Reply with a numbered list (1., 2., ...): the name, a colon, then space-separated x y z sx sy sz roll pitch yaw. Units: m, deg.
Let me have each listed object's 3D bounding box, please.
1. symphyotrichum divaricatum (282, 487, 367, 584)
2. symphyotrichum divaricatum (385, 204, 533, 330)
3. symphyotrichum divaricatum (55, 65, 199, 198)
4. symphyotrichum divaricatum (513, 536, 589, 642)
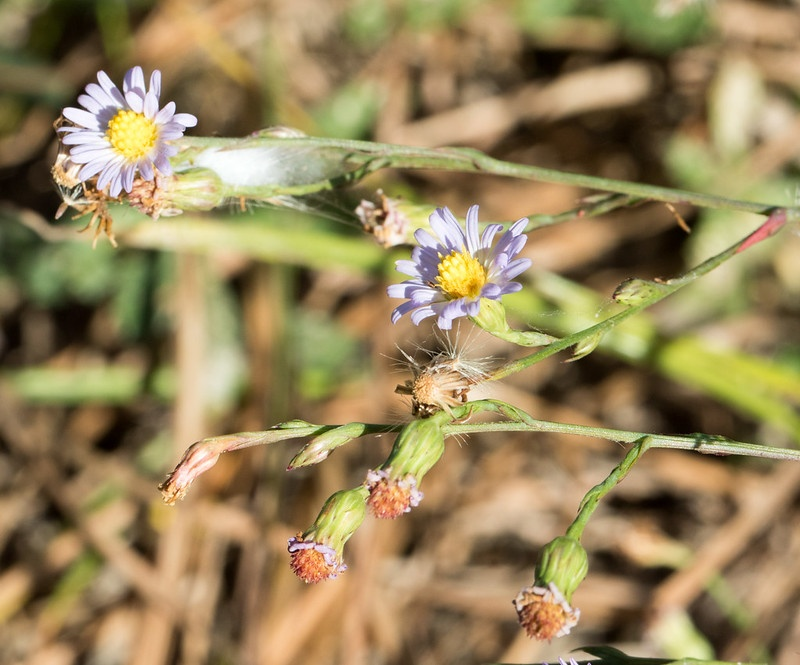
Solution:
1. symphyotrichum divaricatum: -0.195 0.706 3.003 0.230 0.204 0.359 34 89 23
2. symphyotrichum divaricatum: 0.223 -0.233 3.066 0.499 0.501 0.174 -14 71 26
3. symphyotrichum divaricatum: -0.944 -0.697 3.073 0.518 0.204 0.486 1 88 23
4. symphyotrichum divaricatum: 0.496 0.855 2.897 0.259 0.218 0.338 19 84 12
